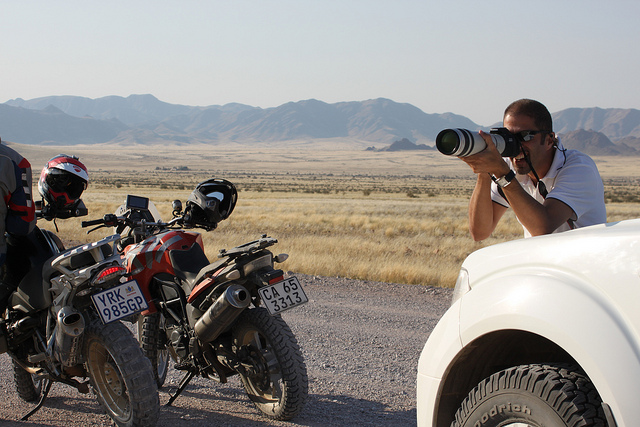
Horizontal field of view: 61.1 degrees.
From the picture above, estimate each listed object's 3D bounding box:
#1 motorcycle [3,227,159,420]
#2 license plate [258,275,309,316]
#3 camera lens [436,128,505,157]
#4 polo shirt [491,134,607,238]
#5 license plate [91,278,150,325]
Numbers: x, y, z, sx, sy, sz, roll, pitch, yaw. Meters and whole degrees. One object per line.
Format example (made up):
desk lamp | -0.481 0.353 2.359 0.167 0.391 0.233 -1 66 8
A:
motorcycle | -2.317 1.024 5.210 1.740 1.740 0.500 0 7 27
license plate | -0.366 0.808 5.304 0.470 0.315 0.196 -8 8 -37
camera lens | 1.240 -0.550 4.284 0.625 0.255 0.377 1 2 -25
polo shirt | 2.002 -0.198 4.403 0.657 0.891 1.092 -5 7 -16
license plate | -1.885 0.824 5.049 0.456 0.320 0.038 -18 -7 -42
